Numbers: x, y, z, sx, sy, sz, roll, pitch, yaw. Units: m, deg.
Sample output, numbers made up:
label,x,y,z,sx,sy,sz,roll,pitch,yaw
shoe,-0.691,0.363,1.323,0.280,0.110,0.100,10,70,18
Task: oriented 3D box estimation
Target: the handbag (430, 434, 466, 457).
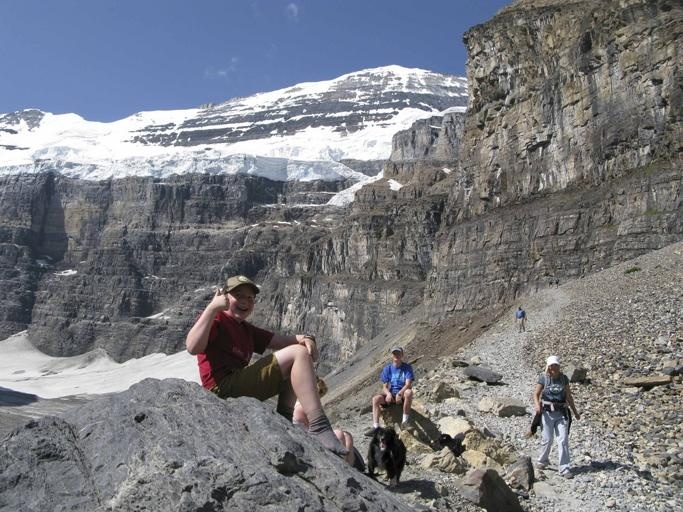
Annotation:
label,x,y,z,sx,sy,sz,roll,pitch,yaw
handbag,4.280,7.281,29.823,0.777,0.591,1.128,-6,-3,10
